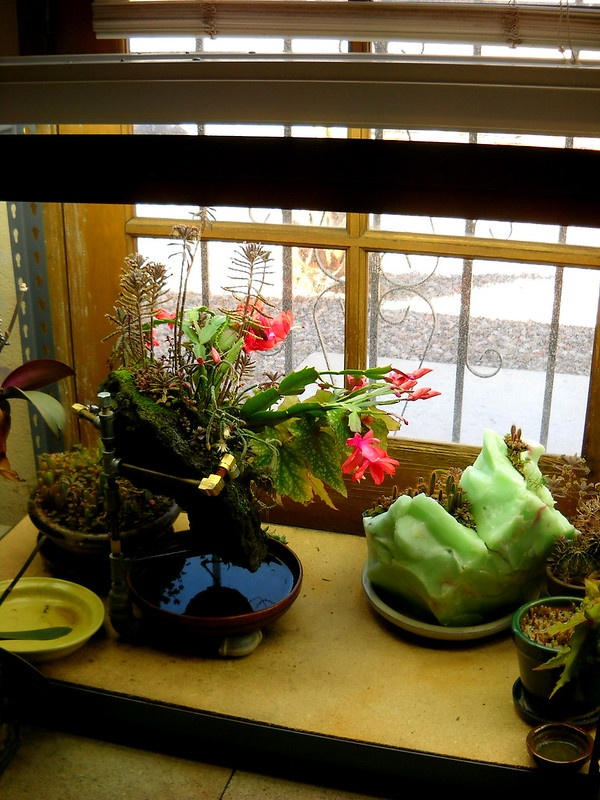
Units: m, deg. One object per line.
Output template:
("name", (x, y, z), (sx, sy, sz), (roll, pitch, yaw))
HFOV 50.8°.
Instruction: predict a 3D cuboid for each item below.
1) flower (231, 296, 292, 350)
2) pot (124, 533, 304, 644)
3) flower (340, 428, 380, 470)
("flower", (-0.062, -0.138, 1.221), (0.105, 0.058, 0.112), (42, 48, 16))
("pot", (-0.165, 0.356, 1.221), (0.331, 0.091, 0.260), (5, 14, 7))
("flower", (0.107, 0.081, 1.089), (0.027, 0.065, 0.067), (17, 10, 35))
